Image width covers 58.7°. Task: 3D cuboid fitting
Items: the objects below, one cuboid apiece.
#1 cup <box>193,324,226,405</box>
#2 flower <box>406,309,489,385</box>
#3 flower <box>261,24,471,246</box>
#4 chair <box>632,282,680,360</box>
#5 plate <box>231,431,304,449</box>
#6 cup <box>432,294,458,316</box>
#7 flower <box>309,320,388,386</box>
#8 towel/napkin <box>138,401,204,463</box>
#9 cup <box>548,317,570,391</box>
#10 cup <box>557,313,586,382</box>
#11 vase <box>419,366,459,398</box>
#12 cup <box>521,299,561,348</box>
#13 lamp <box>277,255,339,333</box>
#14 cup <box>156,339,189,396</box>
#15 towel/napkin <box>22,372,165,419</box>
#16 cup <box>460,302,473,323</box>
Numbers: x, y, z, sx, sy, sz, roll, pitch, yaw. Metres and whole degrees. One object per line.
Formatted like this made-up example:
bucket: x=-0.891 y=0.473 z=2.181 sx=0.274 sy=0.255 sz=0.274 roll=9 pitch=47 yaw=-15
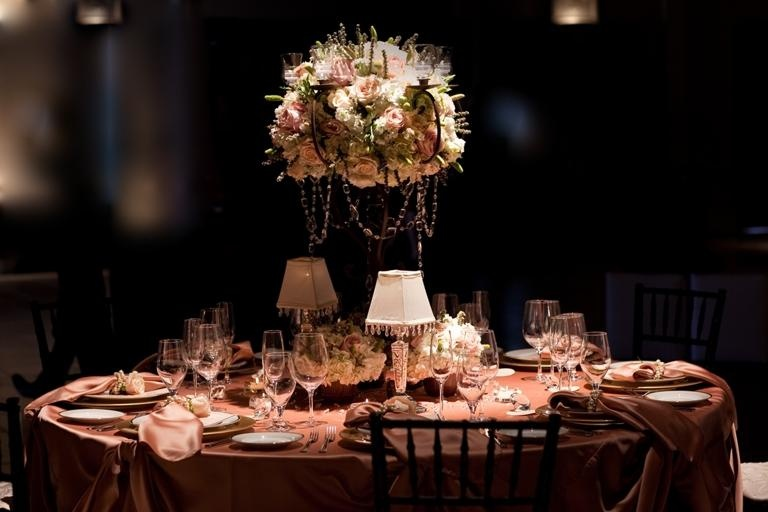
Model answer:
cup: x=-0.849 y=0.554 z=3.322 sx=0.135 sy=0.484 sz=0.157 roll=-1 pitch=2 yaw=-17
flower: x=0.251 y=0.506 z=3.535 sx=0.374 sy=0.380 sz=0.317 roll=10 pitch=7 yaw=-25
flower: x=-0.059 y=-0.652 z=3.751 sx=0.990 sy=1.165 sz=0.951 roll=0 pitch=-1 yaw=12
chair: x=1.903 y=0.464 z=4.817 sx=0.267 sy=0.547 sz=0.718 roll=0 pitch=-2 yaw=23
plate: x=-0.489 y=0.763 z=2.853 sx=0.298 sy=0.048 sz=0.186 roll=0 pitch=-3 yaw=13
cup: x=0.332 y=0.271 z=3.741 sx=0.107 sy=0.107 sz=0.110 roll=-1 pitch=0 yaw=0
flower: x=-0.157 y=0.508 z=3.530 sx=0.344 sy=0.318 sz=0.375 roll=8 pitch=19 yaw=29
towel/napkin: x=-0.886 y=0.711 z=2.838 sx=0.283 sy=0.075 sz=0.251 roll=32 pitch=29 yaw=31
cup: x=0.894 y=0.521 z=3.472 sx=0.127 sy=0.470 sz=0.132 roll=-4 pitch=12 yaw=1
cup: x=0.912 y=0.450 z=3.336 sx=0.152 sy=0.371 sz=0.137 roll=-6 pitch=14 yaw=-9
vase: x=0.287 y=0.640 z=3.517 sx=0.154 sy=0.120 sz=0.168 roll=1 pitch=-6 yaw=-17
cup: x=0.849 y=0.385 z=3.856 sx=0.242 sy=0.403 sz=0.247 roll=1 pitch=-7 yaw=0
lamp: x=-0.407 y=0.257 z=3.624 sx=0.255 sy=0.485 sz=0.260 roll=3 pitch=12 yaw=17
cup: x=-0.985 y=0.539 z=3.199 sx=0.142 sy=0.322 sz=0.130 roll=4 pitch=18 yaw=-1
towel/napkin: x=-1.385 y=0.681 z=3.436 sx=0.350 sy=0.102 sz=0.404 roll=-7 pitch=3 yaw=36
cup: x=0.452 y=0.323 z=3.815 sx=0.087 sy=0.148 sz=0.092 roll=-3 pitch=-1 yaw=0
